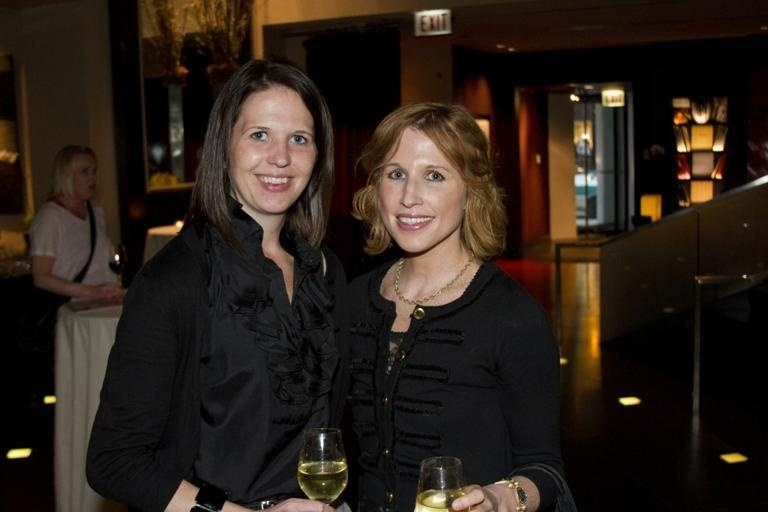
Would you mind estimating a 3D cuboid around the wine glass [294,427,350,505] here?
[{"bbox_3d":[-0.263,0.900,2.729,0.206,0.383,0.190,-4,12,-10],"label":"wine glass"}]

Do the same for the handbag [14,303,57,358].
[{"bbox_3d":[-3.386,0.756,6.360,0.375,0.540,0.398,-8,13,-26],"label":"handbag"}]

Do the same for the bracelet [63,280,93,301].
[{"bbox_3d":[-2.392,0.265,5.078,0.213,0.079,0.161,3,5,40],"label":"bracelet"}]
